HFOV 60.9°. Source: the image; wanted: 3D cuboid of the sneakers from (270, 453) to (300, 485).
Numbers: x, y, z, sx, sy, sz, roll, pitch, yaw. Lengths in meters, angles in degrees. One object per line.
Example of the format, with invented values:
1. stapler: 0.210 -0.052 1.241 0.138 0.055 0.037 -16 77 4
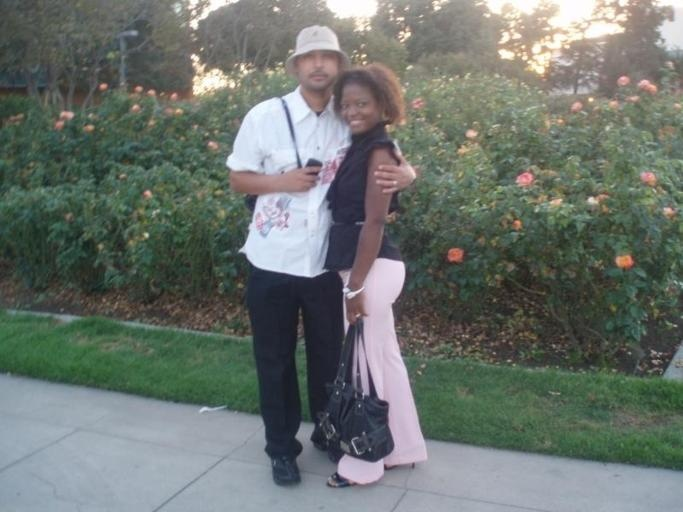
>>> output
1. sneakers: -0.374 1.450 3.941 0.203 0.168 0.157 4 6 -6

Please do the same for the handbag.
1. handbag: 0.090 0.865 3.872 0.405 0.984 0.555 -10 12 -44

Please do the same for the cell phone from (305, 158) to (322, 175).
1. cell phone: -0.183 -0.593 3.828 0.110 0.111 0.063 4 6 -5

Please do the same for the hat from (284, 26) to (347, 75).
1. hat: -0.170 -1.472 3.990 0.283 0.182 0.338 -2 -21 0

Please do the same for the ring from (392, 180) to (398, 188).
1. ring: 0.340 -0.464 3.689 0.036 0.047 0.015 5 5 -1
